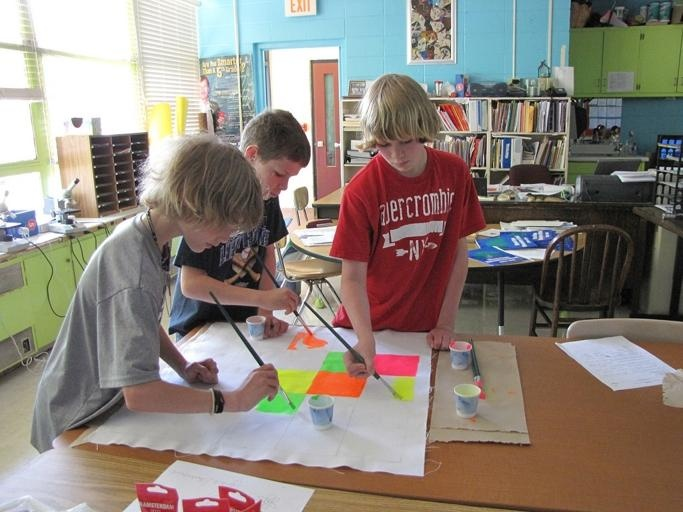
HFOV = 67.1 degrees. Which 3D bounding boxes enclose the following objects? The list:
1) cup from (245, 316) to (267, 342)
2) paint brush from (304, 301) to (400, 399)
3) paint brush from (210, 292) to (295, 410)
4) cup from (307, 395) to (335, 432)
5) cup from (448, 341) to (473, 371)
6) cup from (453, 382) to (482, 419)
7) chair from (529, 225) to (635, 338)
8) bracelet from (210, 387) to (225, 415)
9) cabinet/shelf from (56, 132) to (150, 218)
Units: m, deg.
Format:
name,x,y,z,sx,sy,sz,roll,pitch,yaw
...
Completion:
name,x,y,z,sx,sy,sz,roll,pitch,yaw
cup,-0.318,0.269,1.899,0.071,0.058,0.074,-1,3,0
paint brush,0.046,0.324,1.739,0.019,0.033,0.386,-16,51,-35
paint brush,-0.296,0.319,1.715,0.513,0.022,0.055,41,0,35
cup,-0.057,0.428,1.419,0.075,0.065,0.082,-2,7,0
cup,0.385,0.321,1.667,0.074,0.060,0.078,-1,7,0
cup,0.354,0.403,1.448,0.076,0.063,0.080,0,7,0
chair,1.493,0.195,3.231,0.528,0.922,0.599,2,20,21
bracelet,-0.339,0.398,1.413,0.035,0.059,0.046,0,-13,12
cabinet/shelf,-2.047,-0.675,4.308,0.327,0.864,0.875,3,17,14
